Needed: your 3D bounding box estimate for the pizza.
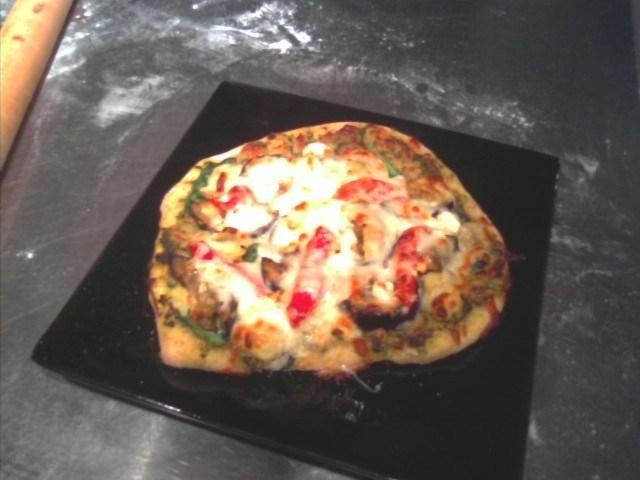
[{"bbox_3d":[0.023,0.006,2.095,1.051,0.156,0.767,-5,78,-4],"label":"pizza"}]
